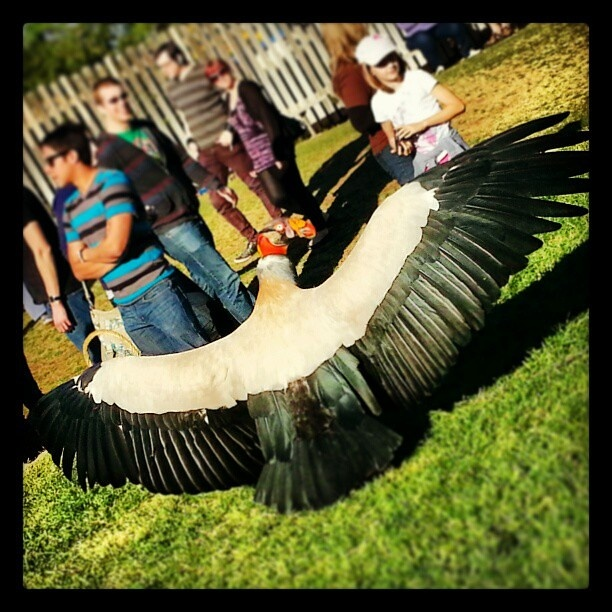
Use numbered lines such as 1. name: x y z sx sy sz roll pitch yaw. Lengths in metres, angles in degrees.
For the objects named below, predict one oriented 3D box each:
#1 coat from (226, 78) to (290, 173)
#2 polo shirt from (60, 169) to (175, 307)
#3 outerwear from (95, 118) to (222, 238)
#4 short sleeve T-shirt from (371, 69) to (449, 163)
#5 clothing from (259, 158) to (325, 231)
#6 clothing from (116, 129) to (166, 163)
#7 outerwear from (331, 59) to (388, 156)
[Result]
1. coat: -0.304 -1.163 3.918 0.283 0.562 0.158 -2 23 15
2. polo shirt: -0.990 -0.432 3.465 0.395 0.756 0.584 -37 17 -24
3. outerwear: -0.864 -0.775 3.680 0.351 0.691 0.692 -19 13 48
4. short sleeve T-shirt: 0.593 -1.132 3.645 0.373 0.458 0.247 -39 14 12
5. clothing: -0.050 -0.726 4.265 0.167 0.690 0.282 -43 50 -6
6. clothing: -0.887 -0.953 3.542 0.190 0.184 0.061 -17 -35 -53
7. outerwear: 0.325 -1.229 3.807 0.145 0.476 0.361 -12 44 17
